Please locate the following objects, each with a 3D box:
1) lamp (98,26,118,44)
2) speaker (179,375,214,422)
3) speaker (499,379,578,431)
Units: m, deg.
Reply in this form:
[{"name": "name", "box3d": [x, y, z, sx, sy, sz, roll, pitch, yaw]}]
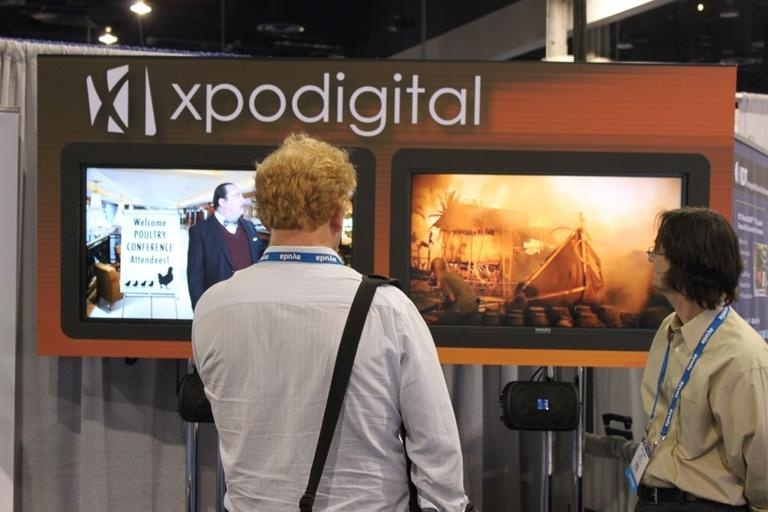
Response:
[{"name": "lamp", "box3d": [-1.988, -1.591, 7.163, 0.148, 0.144, 0.039, 5, -1, -12]}, {"name": "speaker", "box3d": [-1.165, 0.891, 6.190, 0.232, 0.310, 0.171, 11, -37, -38]}, {"name": "speaker", "box3d": [0.967, 0.887, 6.288, 0.491, 0.326, 0.304, 0, 14, -6]}]
